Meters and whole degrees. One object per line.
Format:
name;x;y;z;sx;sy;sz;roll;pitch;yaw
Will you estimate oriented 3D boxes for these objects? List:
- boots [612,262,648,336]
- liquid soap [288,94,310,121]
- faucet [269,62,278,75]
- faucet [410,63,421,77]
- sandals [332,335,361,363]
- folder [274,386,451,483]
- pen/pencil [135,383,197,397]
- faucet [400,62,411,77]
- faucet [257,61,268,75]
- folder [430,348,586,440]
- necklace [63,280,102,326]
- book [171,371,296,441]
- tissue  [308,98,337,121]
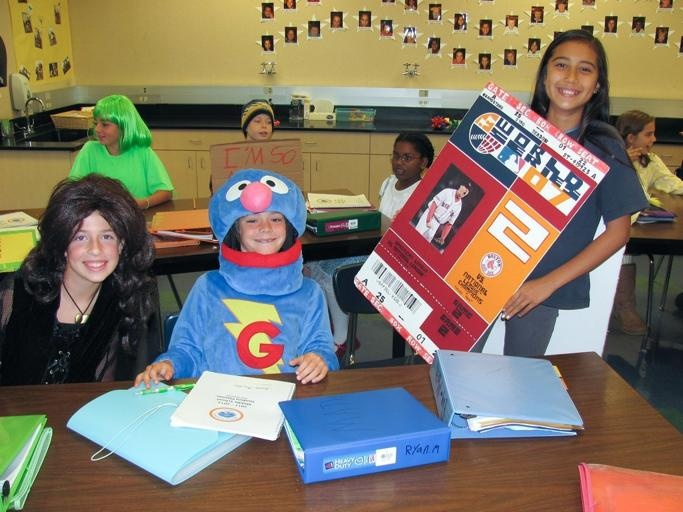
boots;1.857;0.200;3.605;0.144;0.351;0.350;3;13;30
liquid soap;-0.414;-1.486;5.488;0.276;0.322;0.180;-1;18;-8
faucet;-0.690;-1.897;5.570;0.110;0.166;0.088;-2;22;-6
faucet;0.742;-1.865;5.521;0.079;0.110;0.056;0;16;0
sandals;0.033;0.463;2.940;0.125;0.176;0.166;1;28;1
folder;0.054;0.417;1.280;0.221;0.054;0.228;-4;15;-10
pen/pencil;-0.467;0.360;1.461;0.175;0.027;0.025;1;7;-17
faucet;0.637;-1.880;5.525;0.136;0.107;0.038;3;13;9
faucet;-0.775;-1.892;5.592;0.153;0.154;0.085;0;15;-4
folder;0.414;0.358;1.401;0.226;0.064;0.234;1;25;-4
necklace;-0.894;0.167;1.907;0.009;0.151;0.131;-9;-12;33
book;-0.269;0.382;1.388;0.161;0.026;0.172;8;27;9
tissue ;-0.196;-1.421;5.371;0.291;0.187;0.186;7;25;13
